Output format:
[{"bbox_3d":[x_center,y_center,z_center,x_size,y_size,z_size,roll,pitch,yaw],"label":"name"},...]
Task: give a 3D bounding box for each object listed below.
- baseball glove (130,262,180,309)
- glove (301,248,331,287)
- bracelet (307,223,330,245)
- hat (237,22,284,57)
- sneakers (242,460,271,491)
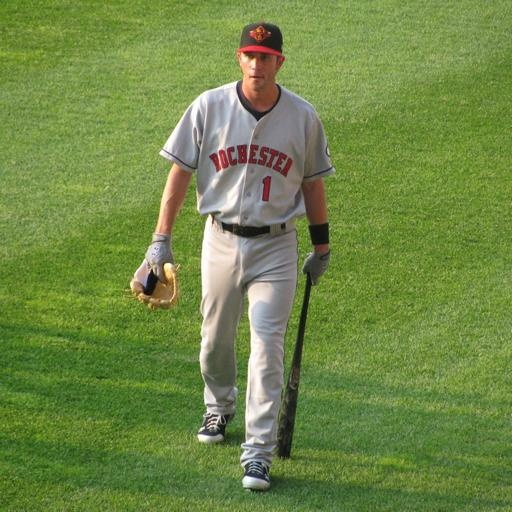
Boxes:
[{"bbox_3d":[-0.654,0.197,8.242,0.278,0.322,0.147,35,-6,27],"label":"baseball glove"},{"bbox_3d":[0.418,0.054,8.533,0.172,0.241,0.104,-9,33,-26],"label":"glove"},{"bbox_3d":[0.441,-0.160,8.569,0.129,0.140,0.128,-3,13,19],"label":"bracelet"},{"bbox_3d":[0.037,-1.448,8.324,0.321,0.254,0.486,3,7,5],"label":"hat"},{"bbox_3d":[0.020,1.413,8.094,0.207,0.176,0.170,3,18,-17],"label":"sneakers"}]
